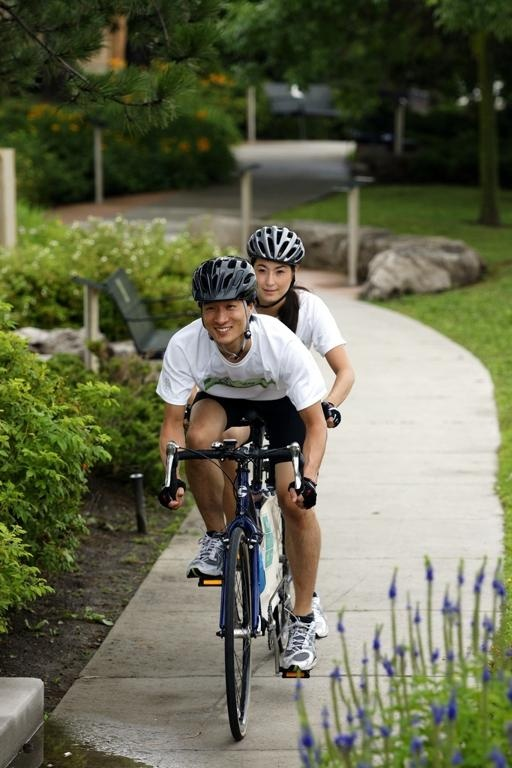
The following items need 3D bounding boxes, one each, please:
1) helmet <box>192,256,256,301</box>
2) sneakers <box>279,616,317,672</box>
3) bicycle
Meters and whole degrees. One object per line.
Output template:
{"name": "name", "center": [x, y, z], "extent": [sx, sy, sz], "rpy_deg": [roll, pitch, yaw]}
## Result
{"name": "helmet", "center": [-0.108, -0.353, 3.523], "extent": [0.215, 0.160, 0.181], "rpy_deg": [-4, 11, -1]}
{"name": "sneakers", "center": [0.153, 0.955, 3.749], "extent": [0.083, 0.095, 0.242], "rpy_deg": [1, 1, 5]}
{"name": "bicycle", "center": [-0.073, 0.652, 3.772], "extent": [0.476, 1.075, 0.943], "rpy_deg": [-5, 12, -5]}
